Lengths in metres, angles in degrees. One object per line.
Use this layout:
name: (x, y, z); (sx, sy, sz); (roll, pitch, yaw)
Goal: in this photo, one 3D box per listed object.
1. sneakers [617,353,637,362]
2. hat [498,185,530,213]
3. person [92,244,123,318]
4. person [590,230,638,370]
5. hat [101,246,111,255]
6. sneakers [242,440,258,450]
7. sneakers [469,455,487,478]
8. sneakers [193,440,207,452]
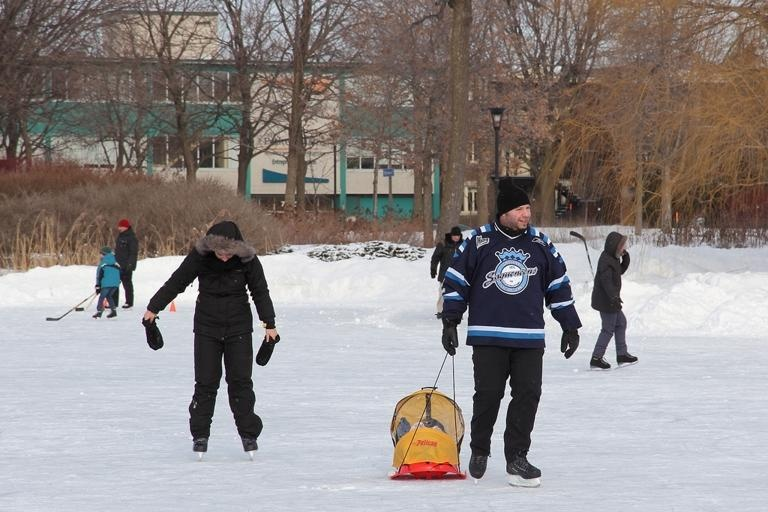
sneakers: (5.076, 2.147, 28.639); (0.432, 0.203, 0.162); (-4, 9, -4)
hat: (2.255, -1.010, 23.852); (0.535, 0.404, 0.399); (-14, 10, 16)
person: (-6.924, 0.651, 34.209); (0.661, 1.781, 1.388); (1, 3, -12)
person: (4.796, 0.928, 28.454); (0.713, 2.853, 0.931); (3, 3, 37)
hat: (-6.849, -0.128, 33.705); (0.220, 0.206, 0.508); (1, 3, -4)
sneakers: (-2.383, 3.368, 24.315); (0.272, 0.247, 0.201); (1, 3, -2)
sneakers: (1.644, 3.657, 23.757); (0.296, 0.430, 0.260); (1, 3, 2)
sneakers: (-3.266, 3.379, 24.310); (0.229, 0.276, 0.236); (1, 3, -8)
